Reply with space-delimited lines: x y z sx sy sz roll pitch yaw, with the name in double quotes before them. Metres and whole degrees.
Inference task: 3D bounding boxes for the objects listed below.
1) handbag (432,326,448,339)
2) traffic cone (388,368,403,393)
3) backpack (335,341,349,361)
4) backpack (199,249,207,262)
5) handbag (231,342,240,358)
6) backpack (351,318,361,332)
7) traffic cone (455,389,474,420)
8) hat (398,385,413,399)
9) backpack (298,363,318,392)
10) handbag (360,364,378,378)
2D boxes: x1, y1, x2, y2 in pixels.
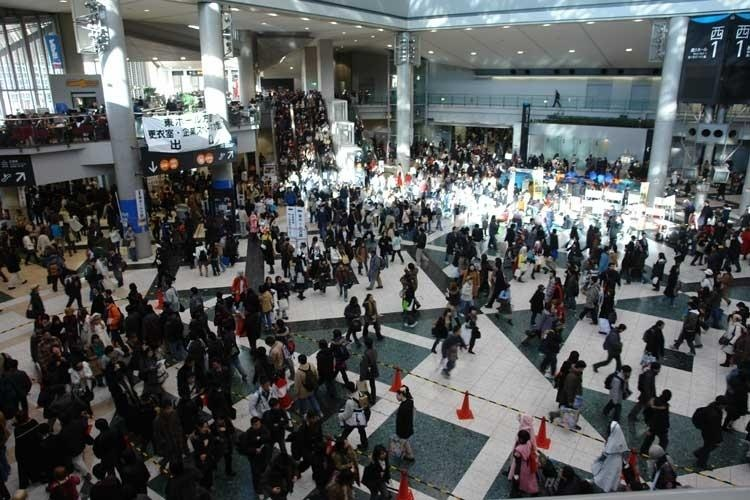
"handbag" 1.950 2.407 15.651 0.417 0.421 0.395 3 20 16
"traffic cone" 0.560 3.667 14.482 0.477 0.657 0.459 1 43 -4
"backpack" -0.888 2.696 13.837 0.460 0.492 0.367 4 19 9
"backpack" -6.730 0.225 20.294 0.274 0.508 0.380 6 16 28
"handbag" -3.898 2.807 14.436 0.151 0.495 0.409 -2 15 -4
"backpack" -0.589 2.240 15.591 0.203 0.370 0.262 7 31 13
"traffic cone" 2.389 4.173 13.893 0.517 0.705 0.524 5 32 6
"hat" 0.683 3.334 12.159 0.274 0.299 0.175 -3 15 -9
"backpack" -1.651 3.179 12.923 0.428 0.695 0.252 -2 14 -4
"handbag" -0.180 3.152 13.535 0.327 0.317 0.180 -18 42 -29
